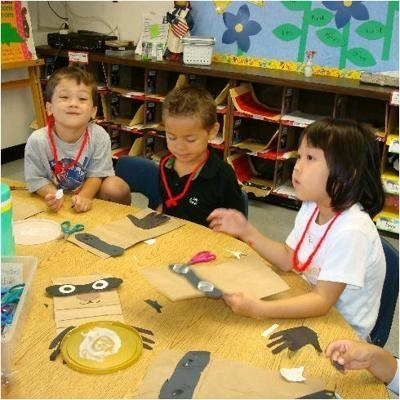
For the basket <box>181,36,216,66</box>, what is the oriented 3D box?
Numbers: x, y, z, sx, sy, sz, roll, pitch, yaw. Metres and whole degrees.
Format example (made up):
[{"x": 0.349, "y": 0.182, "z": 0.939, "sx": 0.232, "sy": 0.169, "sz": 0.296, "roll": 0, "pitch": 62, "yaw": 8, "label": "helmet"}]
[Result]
[{"x": -0.004, "y": -1.354, "z": 3.081, "sx": 0.441, "sy": 0.291, "sz": 0.242, "roll": 2, "pitch": 26, "yaw": 1, "label": "basket"}]

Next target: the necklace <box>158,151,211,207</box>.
[{"x": -0.073, "y": -0.104, "z": 1.604, "sx": 0.212, "sy": 0.280, "sz": 0.060, "roll": 22, "pitch": -7, "yaw": 37, "label": "necklace"}]

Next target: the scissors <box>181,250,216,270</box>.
[{"x": 0.002, "y": 0.167, "z": 0.933, "sx": 0.031, "sy": 0.006, "sz": 0.080, "roll": 21, "pitch": 25, "yaw": 38, "label": "scissors"}]

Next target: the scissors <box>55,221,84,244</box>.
[{"x": -0.418, "y": 0.100, "z": 1.056, "sx": 0.059, "sy": 0.010, "sz": 0.058, "roll": 12, "pitch": 24, "yaw": 11, "label": "scissors"}]

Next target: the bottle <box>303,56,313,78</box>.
[{"x": 0.936, "y": -1.138, "z": 2.859, "sx": 0.074, "sy": 0.189, "sz": 0.277, "roll": 6, "pitch": 17, "yaw": 15, "label": "bottle"}]

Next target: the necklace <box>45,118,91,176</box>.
[{"x": -0.668, "y": -0.248, "z": 1.644, "sx": 0.175, "sy": 0.281, "sz": 0.068, "roll": 9, "pitch": -6, "yaw": -20, "label": "necklace"}]

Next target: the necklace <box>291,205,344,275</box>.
[{"x": 0.357, "y": 0.120, "z": 1.000, "sx": 0.034, "sy": 0.188, "sz": 0.109, "roll": 31, "pitch": -9, "yaw": -35, "label": "necklace"}]

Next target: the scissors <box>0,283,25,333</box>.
[{"x": -0.386, "y": 0.224, "z": 0.680, "sx": 0.060, "sy": 0.078, "sz": 0.030, "roll": -3, "pitch": -15, "yaw": 35, "label": "scissors"}]

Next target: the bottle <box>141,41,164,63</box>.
[{"x": -0.452, "y": -1.407, "z": 3.256, "sx": 0.202, "sy": 0.174, "sz": 0.195, "roll": 0, "pitch": -6, "yaw": 11, "label": "bottle"}]
